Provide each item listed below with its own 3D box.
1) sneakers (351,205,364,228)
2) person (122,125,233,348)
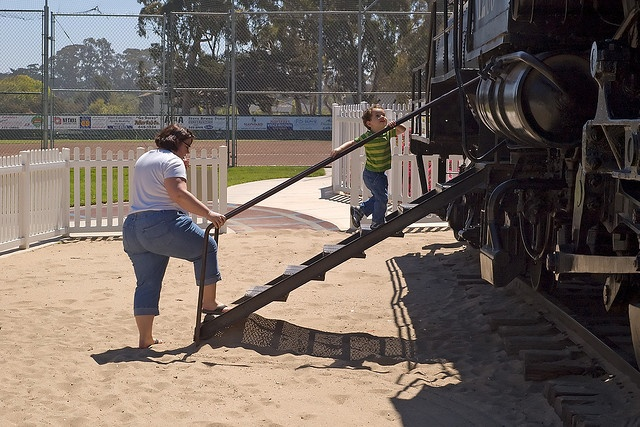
[{"bbox_3d":[0.629,0.045,11.744,0.173,0.430,0.142,-10,8,-12],"label":"sneakers"},{"bbox_3d":[-1.656,0.243,7.997,1.048,2.397,0.775,-3,12,-16],"label":"person"}]
